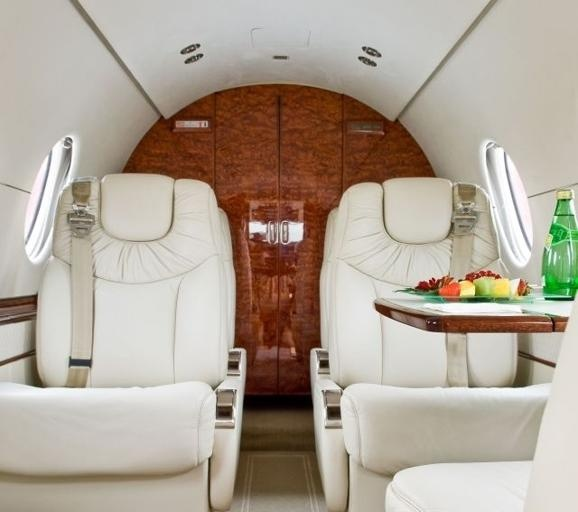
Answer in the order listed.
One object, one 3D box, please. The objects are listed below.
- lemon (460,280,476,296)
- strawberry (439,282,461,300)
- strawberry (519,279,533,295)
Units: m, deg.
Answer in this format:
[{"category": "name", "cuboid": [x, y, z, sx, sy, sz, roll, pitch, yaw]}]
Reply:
[{"category": "lemon", "cuboid": [0.516, 0.094, 1.437, 0.045, 0.047, 0.085, 1, -3, 21]}, {"category": "strawberry", "cuboid": [0.460, 0.107, 1.418, 0.039, 0.024, 0.057, -5, 23, 7]}, {"category": "strawberry", "cuboid": [0.818, 0.105, 1.718, 0.051, 0.057, 0.015, 6, -13, -36]}]
